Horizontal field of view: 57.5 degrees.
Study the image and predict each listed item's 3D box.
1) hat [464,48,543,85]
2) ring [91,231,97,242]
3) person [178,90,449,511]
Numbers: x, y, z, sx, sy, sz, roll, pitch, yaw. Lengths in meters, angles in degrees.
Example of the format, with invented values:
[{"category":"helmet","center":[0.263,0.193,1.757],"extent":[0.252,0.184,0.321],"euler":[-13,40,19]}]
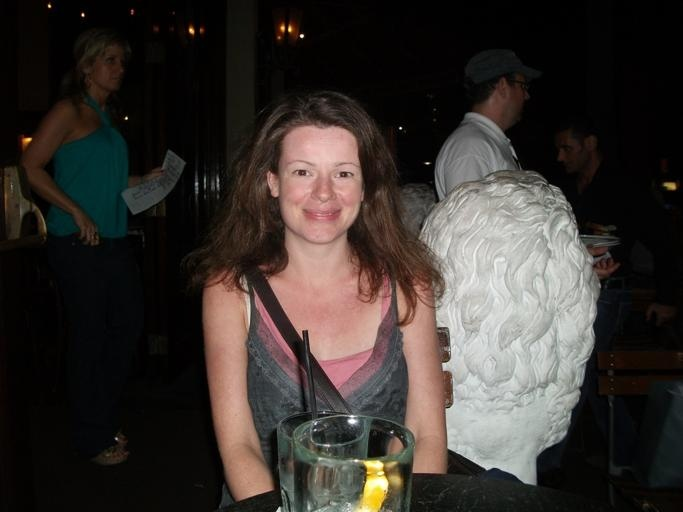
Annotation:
[{"category":"hat","center":[1.016,-1.216,3.997],"extent":[0.366,0.168,0.251],"euler":[-7,9,-8]},{"category":"ring","center":[-1.375,-0.109,3.459],"extent":[0.016,0.057,0.023],"euler":[3,2,-22]},{"category":"person","center":[-0.113,0.155,2.449],"extent":[0.889,1.722,0.550],"euler":[-2,-2,4]}]
